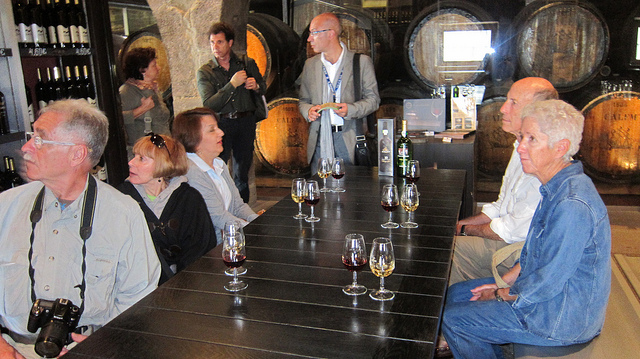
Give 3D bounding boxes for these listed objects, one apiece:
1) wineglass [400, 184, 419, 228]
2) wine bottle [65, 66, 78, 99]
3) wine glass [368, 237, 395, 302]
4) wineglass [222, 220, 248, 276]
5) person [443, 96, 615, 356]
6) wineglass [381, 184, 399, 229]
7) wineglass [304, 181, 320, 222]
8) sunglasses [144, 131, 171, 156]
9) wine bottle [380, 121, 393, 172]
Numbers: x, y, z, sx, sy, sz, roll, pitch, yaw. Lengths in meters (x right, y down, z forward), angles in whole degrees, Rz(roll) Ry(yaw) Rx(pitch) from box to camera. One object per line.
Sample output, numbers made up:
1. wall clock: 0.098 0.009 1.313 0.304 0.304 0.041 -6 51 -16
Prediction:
1. wineglass: 0.625 0.162 3.133 0.119 0.255 0.331 1 13 11
2. wine bottle: -2.385 -0.909 4.174 0.078 0.282 0.133 -4 14 -8
3. wine glass: 0.329 0.464 2.423 0.142 0.305 0.231 -1 14 6
4. wineglass: -0.489 0.443 2.561 0.204 0.370 0.184 4 -7 -27
5. person: 1.370 0.300 2.776 0.878 1.542 0.907 7 16 32
6. wineglass: 0.483 0.167 3.089 0.122 0.274 0.275 0 13 9
7. wineglass: -0.072 0.131 3.202 0.104 0.281 0.228 -3 13 -2
8. sunglasses: -1.195 -0.248 3.235 0.134 0.165 0.045 26 71 36
9. wine bottle: 0.576 -0.281 3.910 0.106 0.459 0.119 0 14 7
